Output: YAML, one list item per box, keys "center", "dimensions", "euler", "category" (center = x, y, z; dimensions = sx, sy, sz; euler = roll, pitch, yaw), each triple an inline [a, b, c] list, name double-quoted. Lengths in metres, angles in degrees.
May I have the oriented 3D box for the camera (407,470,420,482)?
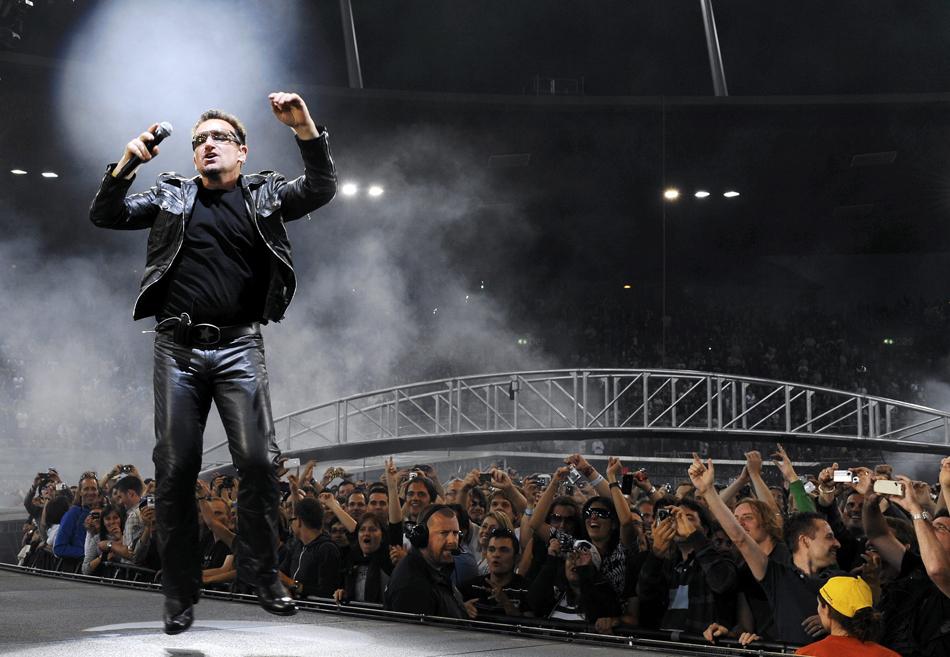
- center: [-0.536, 1.264, 7.105]
  dimensions: [0.118, 0.052, 0.119]
  euler: [0, -8, 3]
  category: "camera"

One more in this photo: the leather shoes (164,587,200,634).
- center: [-1.623, 1.571, 4.582]
  dimensions: [0.168, 0.236, 0.227]
  euler: [6, -16, -15]
  category: "leather shoes"

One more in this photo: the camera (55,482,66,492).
- center: [-4.361, 1.661, 8.721]
  dimensions: [0.085, 0.083, 0.150]
  euler: [0, -5, -9]
  category: "camera"

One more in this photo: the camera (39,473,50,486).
- center: [-4.832, 1.697, 9.334]
  dimensions: [0.117, 0.115, 0.032]
  euler: [5, -8, 20]
  category: "camera"

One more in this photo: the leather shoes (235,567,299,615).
- center: [-1.131, 1.443, 4.556]
  dimensions: [0.309, 0.234, 0.205]
  euler: [5, -15, -12]
  category: "leather shoes"

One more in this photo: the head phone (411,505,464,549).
- center: [-0.260, 1.411, 5.920]
  dimensions: [0.414, 0.367, 0.162]
  euler: [2, -21, 27]
  category: "head phone"

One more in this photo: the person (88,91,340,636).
- center: [-1.442, 0.184, 4.483]
  dimensions: [1.187, 2.808, 0.811]
  euler: [4, -15, -7]
  category: "person"

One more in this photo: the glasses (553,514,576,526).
- center: [0.661, 1.412, 6.172]
  dimensions: [0.152, 0.062, 0.028]
  euler: [1, -15, 3]
  category: "glasses"

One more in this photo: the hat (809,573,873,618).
- center: [2.001, 1.445, 4.479]
  dimensions: [0.259, 0.208, 0.111]
  euler: [-1, -15, 12]
  category: "hat"

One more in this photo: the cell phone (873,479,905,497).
- center: [2.566, 0.986, 5.151]
  dimensions: [0.164, 0.106, 0.147]
  euler: [-4, -17, 23]
  category: "cell phone"

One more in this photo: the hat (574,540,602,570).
- center: [0.809, 1.583, 5.843]
  dimensions: [0.263, 0.180, 0.102]
  euler: [16, -21, -42]
  category: "hat"

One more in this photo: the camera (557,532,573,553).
- center: [0.635, 1.506, 5.845]
  dimensions: [0.125, 0.134, 0.079]
  euler: [1, -15, 5]
  category: "camera"

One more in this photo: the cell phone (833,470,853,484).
- center: [2.555, 1.021, 5.762]
  dimensions: [0.122, 0.111, 0.238]
  euler: [-4, -16, 22]
  category: "cell phone"

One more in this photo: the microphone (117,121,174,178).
- center: [-1.814, -1.016, 4.547]
  dimensions: [0.239, 0.388, 0.291]
  euler: [10, -17, -25]
  category: "microphone"
